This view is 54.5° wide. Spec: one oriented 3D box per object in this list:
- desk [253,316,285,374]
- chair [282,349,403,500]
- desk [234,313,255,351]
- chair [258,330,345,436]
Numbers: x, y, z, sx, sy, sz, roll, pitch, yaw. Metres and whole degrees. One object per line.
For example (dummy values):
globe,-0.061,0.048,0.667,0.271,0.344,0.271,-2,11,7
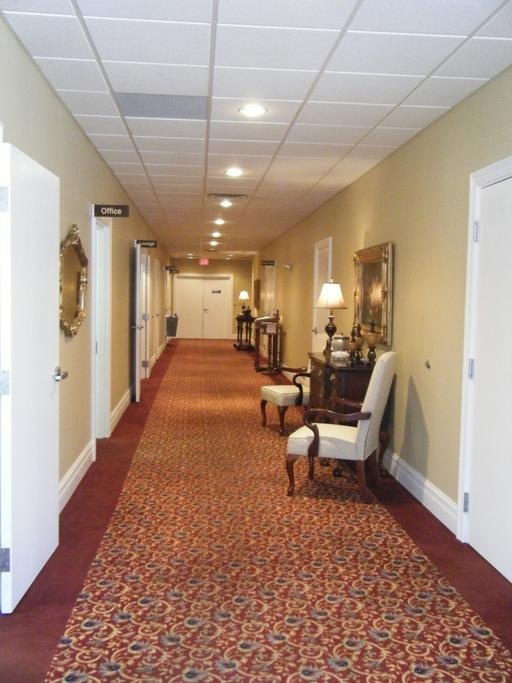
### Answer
desk,0.306,0.082,11.062,0.596,1.362,1.188,1,7,-4
chair,0.753,0.701,3.985,0.757,1.120,0.667,-5,-19,32
desk,-0.336,-0.314,16.007,0.548,1.042,1.171,0,7,-5
chair,0.501,0.566,6.239,0.936,1.273,0.864,1,3,-17
